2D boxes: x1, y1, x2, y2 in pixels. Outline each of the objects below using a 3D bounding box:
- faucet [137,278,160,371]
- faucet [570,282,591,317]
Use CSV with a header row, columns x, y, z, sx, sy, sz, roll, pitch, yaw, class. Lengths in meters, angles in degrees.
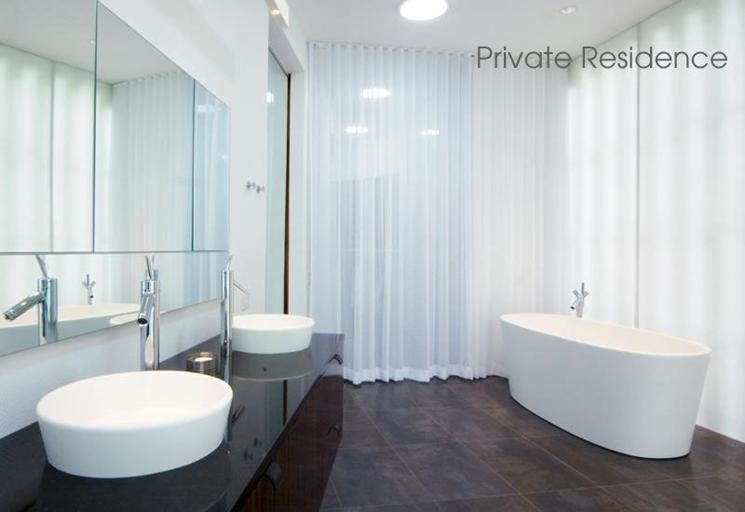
x,y,z,sx,sy,sz,roll,pitch,yaw,class
-0.995,0.301,2.318,0.086,0.390,0.134,-3,10,-16,faucet
1.844,0.408,4.706,0.147,0.400,0.579,4,11,21,faucet
